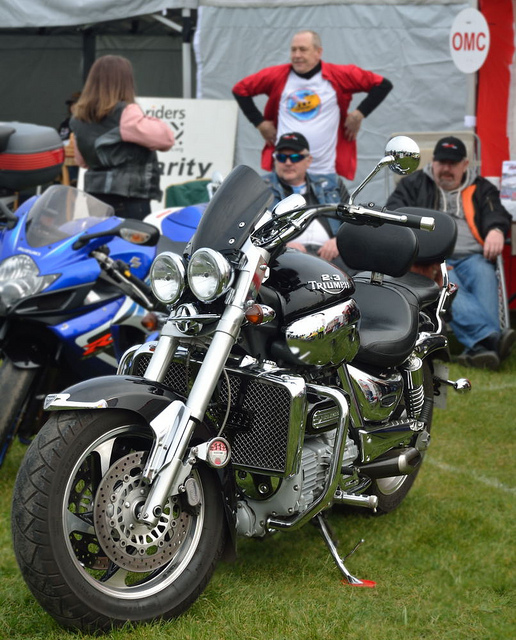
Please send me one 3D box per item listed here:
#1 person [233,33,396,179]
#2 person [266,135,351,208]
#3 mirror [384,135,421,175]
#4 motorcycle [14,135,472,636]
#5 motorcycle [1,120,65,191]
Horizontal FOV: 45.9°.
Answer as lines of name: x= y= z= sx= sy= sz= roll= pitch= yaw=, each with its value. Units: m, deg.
person: x=0.461 y=-1.797 z=5.214 sx=1.381 sy=1.083 sz=0.437 roll=8 pitch=24 yaw=13
person: x=0.255 y=-1.005 z=4.221 sx=0.889 sy=0.510 sz=0.397 roll=-6 pitch=11 yaw=-8
mirror: x=0.424 y=-0.475 z=1.750 sx=0.123 sy=0.108 sz=0.028 roll=2 pitch=20 yaw=20
motorcycle: x=-0.157 y=0.171 z=2.486 sx=1.032 sy=1.250 sz=2.232 roll=3 pitch=5 yaw=39
motorcycle: x=-1.335 y=-0.973 z=3.543 sx=0.436 sy=0.254 sz=0.412 roll=7 pitch=9 yaw=44
